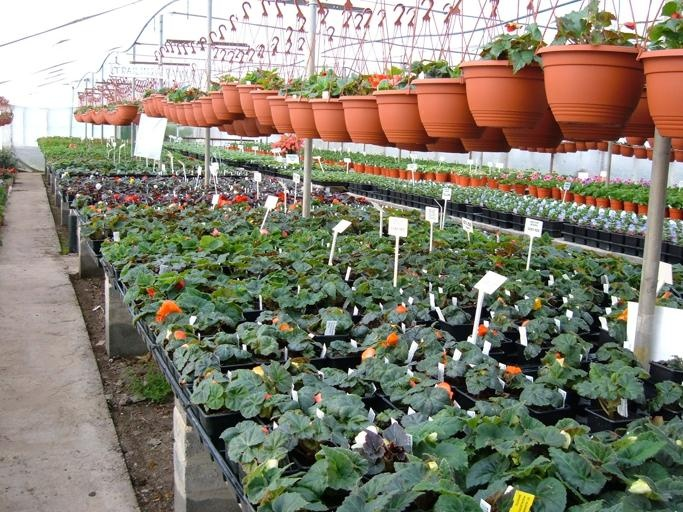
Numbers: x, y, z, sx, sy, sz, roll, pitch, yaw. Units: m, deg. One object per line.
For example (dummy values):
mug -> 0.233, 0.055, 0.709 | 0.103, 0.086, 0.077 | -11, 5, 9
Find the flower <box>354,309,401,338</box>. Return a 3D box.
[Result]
flower -> 0.237, 0.424, 2.860 | 0.208, 0.067, 0.188 | -11, 19, 7

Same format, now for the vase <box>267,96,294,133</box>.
vase -> -0.688, -1.585, 4.975 | 0.416, 0.275, 0.386 | -4, 14, -7

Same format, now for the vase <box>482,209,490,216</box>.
vase -> 2.694, -0.818, 8.246 | 0.105, 0.146, 0.167 | 0, 0, -32

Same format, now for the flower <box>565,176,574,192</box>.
flower -> 4.738, -1.459, 9.245 | 0.194, 0.278, 1.201 | 15, 12, 24

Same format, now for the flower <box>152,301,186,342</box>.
flower -> -1.086, 0.358, 2.777 | 0.155, 0.144, 0.171 | 5, 12, -20

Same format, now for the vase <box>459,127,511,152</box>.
vase -> 1.122, -0.878, 3.406 | 0.258, 0.143, 0.242 | 2, 9, 8

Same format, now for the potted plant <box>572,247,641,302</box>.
potted plant -> 2.367, 0.210, 3.879 | 0.518, 0.165, 0.479 | 5, 19, 9

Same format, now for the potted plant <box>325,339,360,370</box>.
potted plant -> 0.016, 0.548, 2.543 | 0.191, 0.118, 0.231 | 9, 11, 3

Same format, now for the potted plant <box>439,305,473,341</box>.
potted plant -> 0.779, 0.440, 3.100 | 0.239, 0.176, 0.221 | -1, -30, 19

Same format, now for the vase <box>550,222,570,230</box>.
vase -> 3.572, -0.512, 7.274 | 0.230, 0.068, 0.154 | -8, 16, -23

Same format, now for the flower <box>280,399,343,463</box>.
flower -> -0.132, 0.658, 1.650 | 0.202, 0.112, 0.189 | 5, 24, 10

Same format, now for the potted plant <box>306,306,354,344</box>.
potted plant -> -0.066, 0.417, 2.801 | 0.283, 0.141, 0.307 | 8, 11, -2

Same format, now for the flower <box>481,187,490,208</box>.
flower -> 2.951, -1.193, 9.101 | 0.167, 0.321, 1.649 | 13, 11, 14

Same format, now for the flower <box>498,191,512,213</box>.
flower -> 3.178, -1.038, 8.534 | 0.267, 0.338, 1.674 | 13, 12, 17

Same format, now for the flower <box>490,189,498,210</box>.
flower -> 3.029, -1.121, 8.847 | 0.201, 0.319, 1.545 | 13, 12, 16

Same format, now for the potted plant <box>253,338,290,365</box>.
potted plant -> -0.386, 0.512, 2.425 | 0.185, 0.143, 0.210 | 7, 11, -9

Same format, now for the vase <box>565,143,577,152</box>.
vase -> 5.935, -2.818, 11.467 | 0.222, 0.251, 0.613 | 16, 13, 30

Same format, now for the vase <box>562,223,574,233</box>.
vase -> 3.603, -0.453, 7.031 | 0.216, 0.146, 0.217 | -2, 6, -41

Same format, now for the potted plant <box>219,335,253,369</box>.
potted plant -> -0.574, 0.512, 2.410 | 0.183, 0.111, 0.272 | 7, 11, -8

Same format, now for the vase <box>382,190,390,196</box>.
vase -> 1.065, -1.525, 10.595 | 0.100, 0.164, 0.186 | 4, -3, -30

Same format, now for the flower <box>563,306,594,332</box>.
flower -> 1.542, 0.427, 2.926 | 0.204, 0.043, 0.199 | -17, 20, -38

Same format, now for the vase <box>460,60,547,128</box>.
vase -> 0.959, -0.925, 2.565 | 0.573, 0.331, 0.546 | -4, 19, -15

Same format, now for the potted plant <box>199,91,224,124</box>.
potted plant -> -2.101, -2.405, 7.167 | 0.531, 0.355, 0.494 | -9, 21, -15

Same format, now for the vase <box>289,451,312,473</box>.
vase -> -0.154, 0.761, 1.637 | 0.053, 0.056, 0.067 | -1, -8, -20

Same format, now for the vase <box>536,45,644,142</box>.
vase -> 1.185, -0.794, 2.078 | 0.454, 0.316, 0.452 | -22, 29, -29

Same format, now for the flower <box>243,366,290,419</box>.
flower -> -0.322, 0.588, 1.951 | 0.197, 0.054, 0.180 | -2, 36, -20

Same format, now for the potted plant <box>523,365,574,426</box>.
potted plant -> 0.975, 0.668, 2.125 | 0.187, 0.106, 0.264 | -5, 21, -5

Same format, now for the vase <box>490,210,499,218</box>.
vase -> 2.783, -0.770, 8.048 | 0.060, 0.102, 0.111 | -28, 41, -26

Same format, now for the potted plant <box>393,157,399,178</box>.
potted plant -> 1.790, -2.832, 14.136 | 0.240, 0.633, 0.751 | 12, 11, 6

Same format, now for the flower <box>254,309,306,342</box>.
flower -> -0.367, 0.407, 2.661 | 0.161, 0.062, 0.251 | 0, 11, -35

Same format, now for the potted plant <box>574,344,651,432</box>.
potted plant -> 1.329, 0.614, 2.133 | 0.396, 0.244, 0.364 | -3, 14, -12

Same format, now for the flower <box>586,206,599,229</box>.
flower -> 3.939, -0.615, 6.925 | 0.147, 0.292, 0.643 | 16, 13, 26

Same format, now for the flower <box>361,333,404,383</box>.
flower -> 0.214, 0.525, 2.279 | 0.156, 0.077, 0.240 | 12, 13, -1

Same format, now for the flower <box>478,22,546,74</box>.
flower -> 0.953, -1.079, 2.353 | 0.355, 0.165, 0.338 | -28, 38, -11

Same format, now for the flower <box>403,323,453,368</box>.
flower -> 0.503, 0.466, 2.648 | 0.215, 0.091, 0.259 | 20, 5, 35

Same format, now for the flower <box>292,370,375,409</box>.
flower -> -0.061, 0.597, 2.076 | 0.203, 0.048, 0.199 | -1, 9, -42

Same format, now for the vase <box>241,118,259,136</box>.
vase -> -1.393, -2.063, 7.022 | 0.255, 0.263, 0.247 | 21, 47, 27

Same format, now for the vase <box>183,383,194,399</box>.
vase -> -0.764, 0.669, 2.201 | 0.035, 0.072, 0.131 | 4, 12, -26

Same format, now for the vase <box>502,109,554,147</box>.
vase -> 1.264, -0.830, 2.978 | 0.285, 0.169, 0.275 | 1, 7, 25

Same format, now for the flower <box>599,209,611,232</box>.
flower -> 3.990, -0.566, 6.713 | 0.189, 0.313, 0.811 | 16, 13, 27

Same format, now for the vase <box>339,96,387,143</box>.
vase -> 0.192, -1.190, 3.961 | 0.442, 0.282, 0.398 | -3, 6, -8

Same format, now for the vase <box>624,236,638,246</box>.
vase -> 3.925, -0.212, 6.002 | 0.155, 0.126, 0.068 | 18, 14, 37

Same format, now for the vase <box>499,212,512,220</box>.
vase -> 2.873, -0.712, 7.846 | 0.165, 0.125, 0.236 | 2, 7, -34

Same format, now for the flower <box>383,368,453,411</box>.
flower -> 0.327, 0.608, 1.980 | 0.191, 0.046, 0.186 | 15, 22, 39

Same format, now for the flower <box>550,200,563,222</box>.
flower -> 3.723, -0.778, 7.655 | 0.245, 0.303, 0.841 | 15, 12, 23

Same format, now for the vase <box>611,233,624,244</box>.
vase -> 3.846, -0.249, 6.195 | 0.181, 0.154, 0.118 | 5, 36, 19

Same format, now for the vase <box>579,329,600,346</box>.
vase -> 1.640, 0.537, 2.962 | 0.179, 0.106, 0.094 | -1, 0, -24

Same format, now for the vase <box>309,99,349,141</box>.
vase -> -0.057, -1.367, 4.468 | 0.541, 0.359, 0.495 | -2, 16, -19

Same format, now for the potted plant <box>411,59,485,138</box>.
potted plant -> 0.730, -1.010, 2.975 | 0.504, 0.330, 0.459 | -3, 20, 5

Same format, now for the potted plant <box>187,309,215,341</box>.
potted plant -> -0.857, 0.428, 2.693 | 0.164, 0.122, 0.310 | 6, 11, -15
